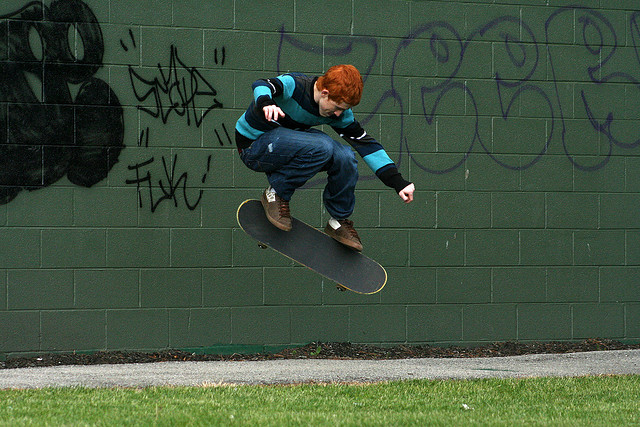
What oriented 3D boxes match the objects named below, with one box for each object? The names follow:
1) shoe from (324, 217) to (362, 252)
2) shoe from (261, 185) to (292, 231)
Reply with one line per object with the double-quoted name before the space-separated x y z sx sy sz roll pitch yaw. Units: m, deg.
"shoe" 0.290 0.187 13.605 0.193 0.230 0.581 -6 22 -43
"shoe" -0.462 -0.067 13.439 0.357 0.497 0.231 3 0 0
